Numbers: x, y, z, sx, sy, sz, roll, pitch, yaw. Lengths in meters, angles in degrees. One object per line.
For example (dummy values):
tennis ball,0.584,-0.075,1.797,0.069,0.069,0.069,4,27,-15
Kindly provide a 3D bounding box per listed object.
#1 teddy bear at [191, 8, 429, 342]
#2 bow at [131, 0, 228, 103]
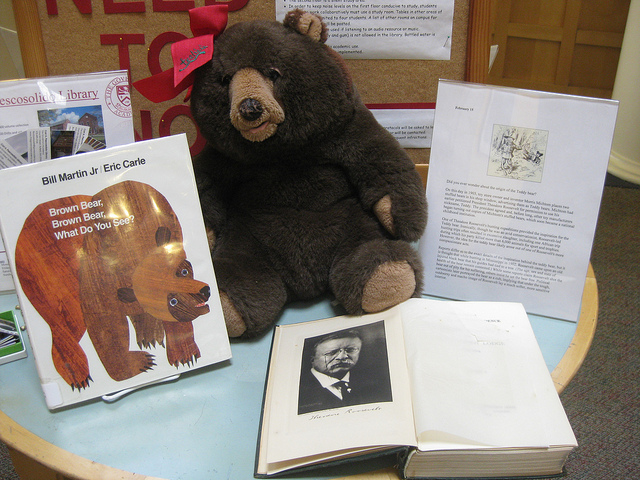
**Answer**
teddy bear,-0.035,-0.115,1.134,0.484,0.575,0.407,-7,26,6
bow,-0.292,-0.403,1.179,0.203,0.223,0.114,14,6,-1
